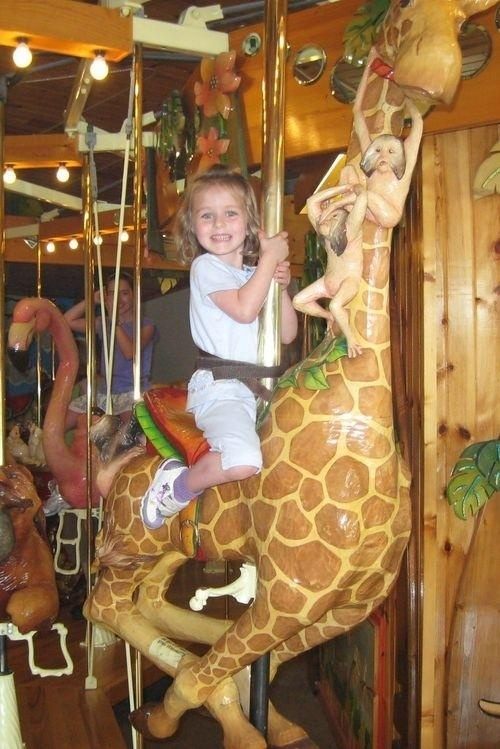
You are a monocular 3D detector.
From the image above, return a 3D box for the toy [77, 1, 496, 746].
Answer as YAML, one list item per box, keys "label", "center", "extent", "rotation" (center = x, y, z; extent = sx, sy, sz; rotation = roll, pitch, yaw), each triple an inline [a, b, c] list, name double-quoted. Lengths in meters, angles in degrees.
- label: "toy"
  center: [0.035, 0.047, 1.372]
  extent: [0.771, 1.412, 0.379]
  rotation: [5, 10, 37]
